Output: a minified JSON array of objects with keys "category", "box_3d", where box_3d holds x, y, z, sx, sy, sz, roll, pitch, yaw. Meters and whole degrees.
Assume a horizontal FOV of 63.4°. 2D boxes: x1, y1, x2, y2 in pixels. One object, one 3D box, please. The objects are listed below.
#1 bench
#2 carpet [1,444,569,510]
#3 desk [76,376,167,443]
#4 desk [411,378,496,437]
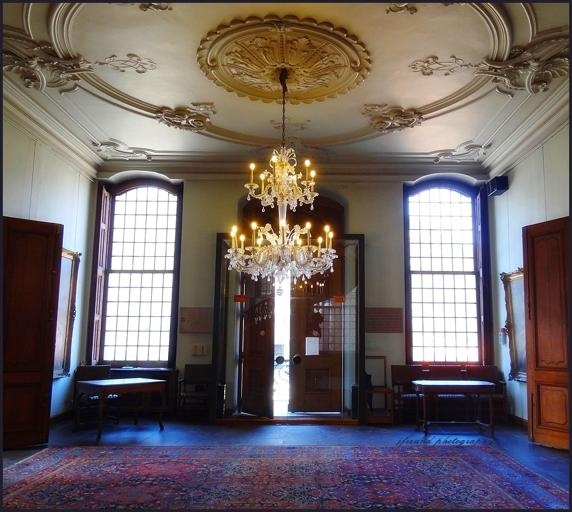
[{"category":"bench","box_3d":[3.035,2.606,8.658,1.866,0.940,0.604,-4,-10,14]},{"category":"carpet","box_3d":[-0.086,2.564,5.445,6.054,0.053,2.286,1,-8,-3]},{"category":"desk","box_3d":[-2.427,2.470,7.635,0.972,0.734,0.610,-2,-11,-5]},{"category":"desk","box_3d":[2.828,2.559,7.733,1.260,0.831,0.739,-4,-18,19]}]
